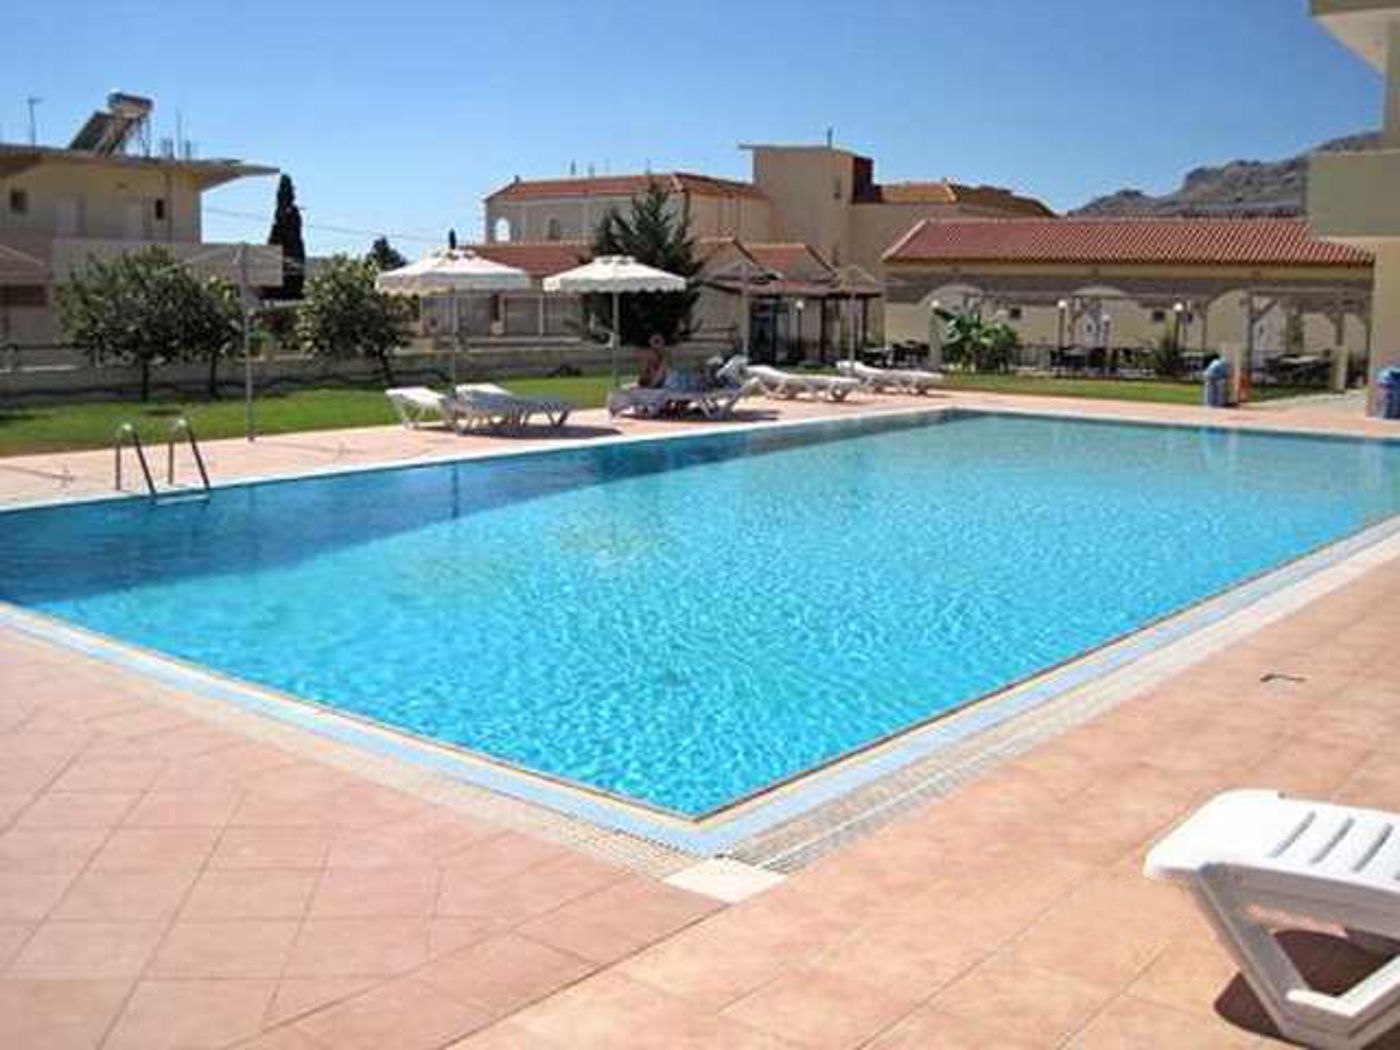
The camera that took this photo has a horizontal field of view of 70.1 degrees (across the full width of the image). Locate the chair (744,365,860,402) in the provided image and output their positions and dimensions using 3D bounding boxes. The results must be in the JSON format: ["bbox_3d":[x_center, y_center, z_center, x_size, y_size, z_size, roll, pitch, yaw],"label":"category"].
[{"bbox_3d":[2.513,-3.537,25.247,2.455,0.648,1.427,6,12,30],"label":"chair"}]

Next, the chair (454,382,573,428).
[{"bbox_3d":[-3.607,-2.244,19.025,1.968,0.793,2.126,-2,10,-12],"label":"chair"}]

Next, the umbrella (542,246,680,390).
[{"bbox_3d":[-1.829,-4.625,22.301,3.107,2.508,3.092,9,15,36],"label":"umbrella"}]

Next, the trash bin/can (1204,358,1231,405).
[{"bbox_3d":[12.572,-3.433,24.346,0.496,1.050,0.801,4,11,24],"label":"trash bin/can"}]
